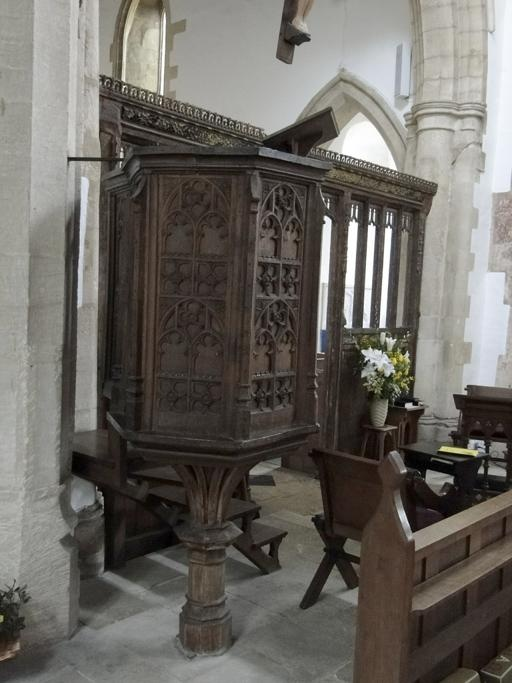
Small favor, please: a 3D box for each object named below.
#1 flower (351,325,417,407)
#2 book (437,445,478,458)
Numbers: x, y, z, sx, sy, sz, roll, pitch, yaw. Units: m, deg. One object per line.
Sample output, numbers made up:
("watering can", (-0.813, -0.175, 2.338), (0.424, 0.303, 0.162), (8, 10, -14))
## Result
("flower", (1.312, 0.192, 5.714), (0.344, 0.498, 0.407), (10, 13, 43))
("book", (1.517, 0.833, 4.513), (0.263, 0.064, 0.282), (0, -4, 30))
